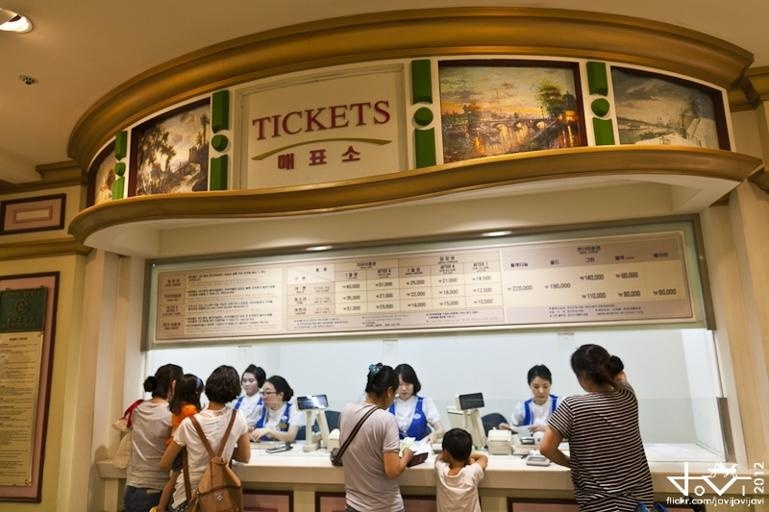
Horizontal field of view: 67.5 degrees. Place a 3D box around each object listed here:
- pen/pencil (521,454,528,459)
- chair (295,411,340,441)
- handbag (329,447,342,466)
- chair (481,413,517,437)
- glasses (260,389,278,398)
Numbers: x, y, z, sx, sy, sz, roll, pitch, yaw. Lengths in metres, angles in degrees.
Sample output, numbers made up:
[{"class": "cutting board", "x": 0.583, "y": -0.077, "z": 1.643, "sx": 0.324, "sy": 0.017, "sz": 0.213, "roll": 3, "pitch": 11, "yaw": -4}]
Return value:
[{"class": "pen/pencil", "x": 1.046, "y": 1.498, "z": 4.313, "sx": 0.030, "sy": 0.026, "sz": 0.029, "roll": -2, "pitch": -9, "yaw": 6}, {"class": "chair", "x": -0.508, "y": 1.422, "z": 4.878, "sx": 0.415, "sy": 0.233, "sz": 0.490, "roll": 5, "pitch": -16, "yaw": -30}, {"class": "handbag", "x": -0.320, "y": 1.345, "z": 3.881, "sx": 0.088, "sy": 0.128, "sz": 0.134, "roll": 0, "pitch": 4, "yaw": 0}, {"class": "chair", "x": 0.908, "y": 1.363, "z": 4.677, "sx": 0.194, "sy": 0.237, "sz": 0.191, "roll": -12, "pitch": -36, "yaw": 33}, {"class": "glasses", "x": -0.982, "y": 1.183, "z": 4.974, "sx": 0.136, "sy": 0.071, "sz": 0.038, "roll": -7, "pitch": -15, "yaw": 16}]
